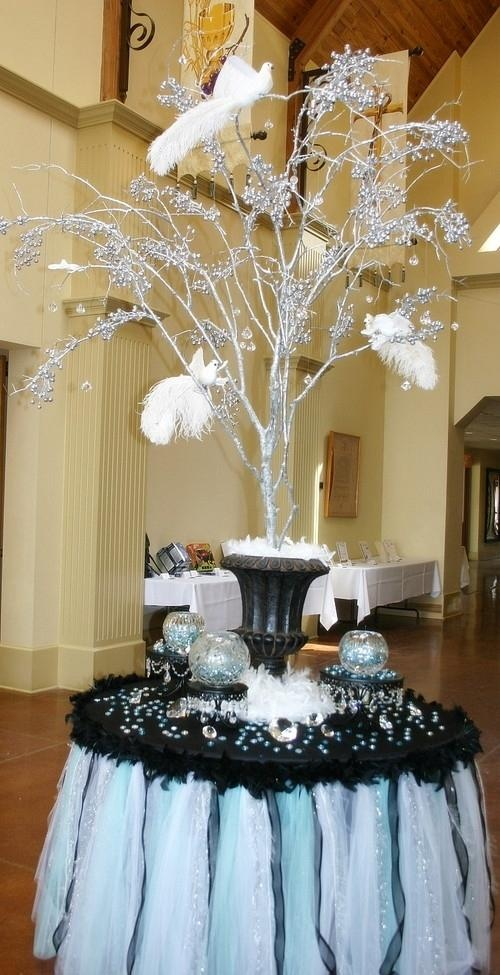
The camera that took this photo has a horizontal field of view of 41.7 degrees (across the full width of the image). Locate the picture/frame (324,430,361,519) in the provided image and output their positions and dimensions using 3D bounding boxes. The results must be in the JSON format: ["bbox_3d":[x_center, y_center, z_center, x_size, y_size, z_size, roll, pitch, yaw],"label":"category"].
[{"bbox_3d":[1.240,-0.186,8.933,0.100,1.255,1.051,-1,-3,25],"label":"picture/frame"}]
